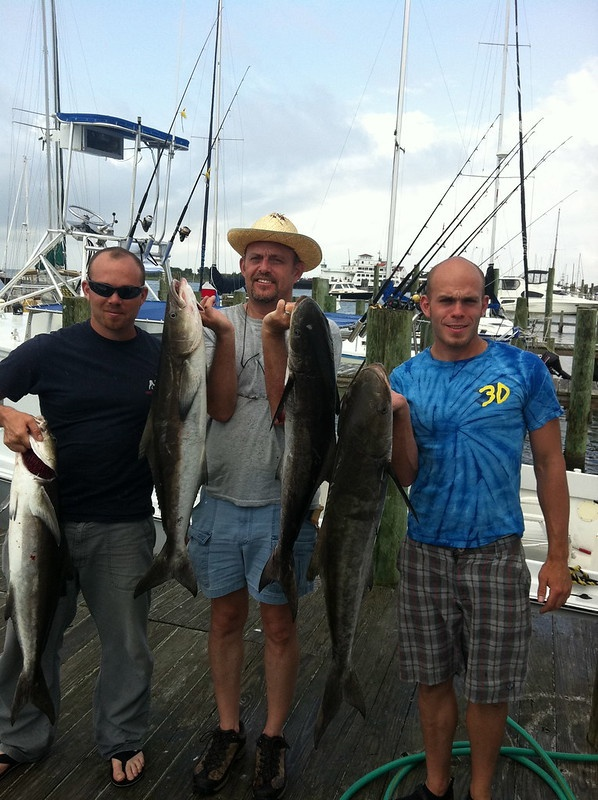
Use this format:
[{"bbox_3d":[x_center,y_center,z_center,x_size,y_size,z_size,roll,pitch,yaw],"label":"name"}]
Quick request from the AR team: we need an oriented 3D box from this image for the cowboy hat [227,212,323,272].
[{"bbox_3d":[-0.102,-0.619,2.317,0.374,0.194,0.347,1,6,-1],"label":"cowboy hat"}]

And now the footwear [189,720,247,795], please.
[{"bbox_3d":[-0.310,1.358,2.244,0.083,0.123,0.260,-2,-5,16],"label":"footwear"}]

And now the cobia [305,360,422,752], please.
[{"bbox_3d":[0.185,0.447,1.810,0.261,1.118,0.325,1,6,1],"label":"cobia"}]

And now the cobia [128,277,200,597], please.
[{"bbox_3d":[-0.446,0.145,2.024,0.240,1.090,0.218,0,6,-12],"label":"cobia"}]

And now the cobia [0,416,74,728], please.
[{"bbox_3d":[-0.956,0.600,2.036,0.212,1.055,0.308,0,6,-5],"label":"cobia"}]

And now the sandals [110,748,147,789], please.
[{"bbox_3d":[-0.644,1.371,2.202,0.127,0.091,0.118,0,6,-15],"label":"sandals"}]

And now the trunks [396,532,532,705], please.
[{"bbox_3d":[0.558,0.712,2.082,0.400,0.610,0.272,0,8,21],"label":"trunks"}]
